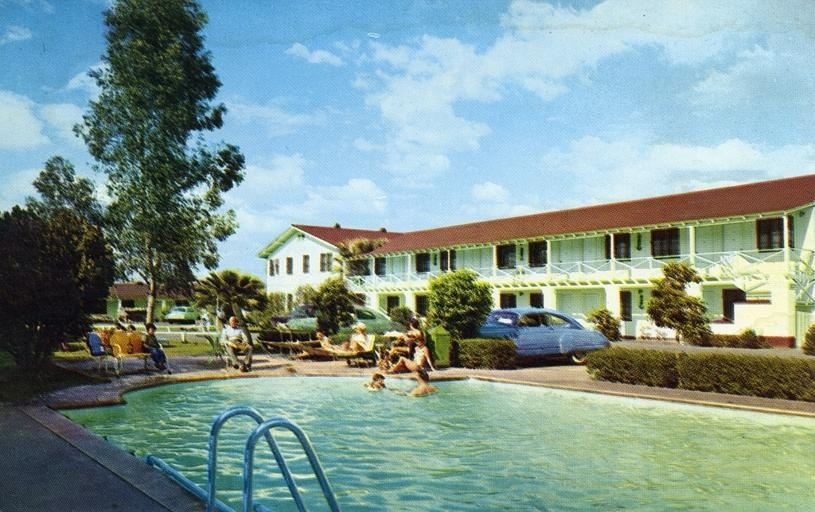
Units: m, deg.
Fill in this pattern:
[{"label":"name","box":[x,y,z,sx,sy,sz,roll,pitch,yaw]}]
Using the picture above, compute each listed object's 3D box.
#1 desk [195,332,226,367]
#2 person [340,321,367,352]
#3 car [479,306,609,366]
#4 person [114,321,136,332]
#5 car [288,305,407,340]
[{"label":"desk","box":[-8.885,4.251,28.883,1.666,1.286,1.619,-2,-2,21]},{"label":"person","box":[-2.160,3.535,27.669,1.167,1.568,1.331,6,-14,-15]},{"label":"car","box":[6.111,3.520,28.085,4.968,1.445,2.591,8,-12,-21]},{"label":"person","box":[-13.131,3.271,29.621,0.994,0.261,0.946,12,-5,10]},{"label":"car","box":[-3.615,3.533,34.341,5.764,1.780,2.380,-3,-6,14]}]
